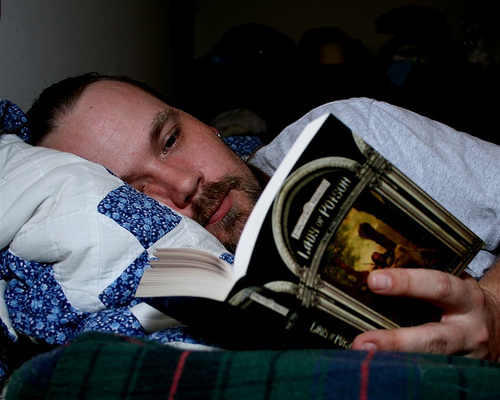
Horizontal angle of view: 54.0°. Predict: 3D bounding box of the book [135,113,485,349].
[{"bbox_3d":[0.128,0.081,0.976,0.695,0.419,0.261,-2,36,-14],"label":"book"}]
